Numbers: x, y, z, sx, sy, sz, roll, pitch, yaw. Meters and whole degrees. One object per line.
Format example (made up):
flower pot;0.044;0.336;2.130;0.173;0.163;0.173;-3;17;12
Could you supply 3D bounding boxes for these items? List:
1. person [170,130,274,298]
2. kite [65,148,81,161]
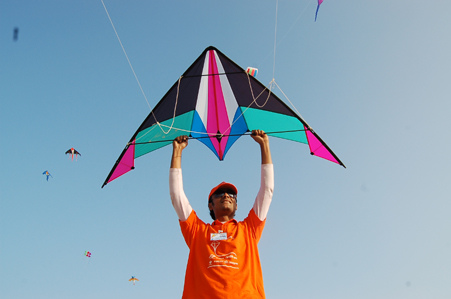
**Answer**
person;0.019;0.813;6.107;1.473;2.184;1.201;-7;-51;-9
kite;-2.138;0.039;6.163;0.233;0.082;0.178;3;-87;-8
